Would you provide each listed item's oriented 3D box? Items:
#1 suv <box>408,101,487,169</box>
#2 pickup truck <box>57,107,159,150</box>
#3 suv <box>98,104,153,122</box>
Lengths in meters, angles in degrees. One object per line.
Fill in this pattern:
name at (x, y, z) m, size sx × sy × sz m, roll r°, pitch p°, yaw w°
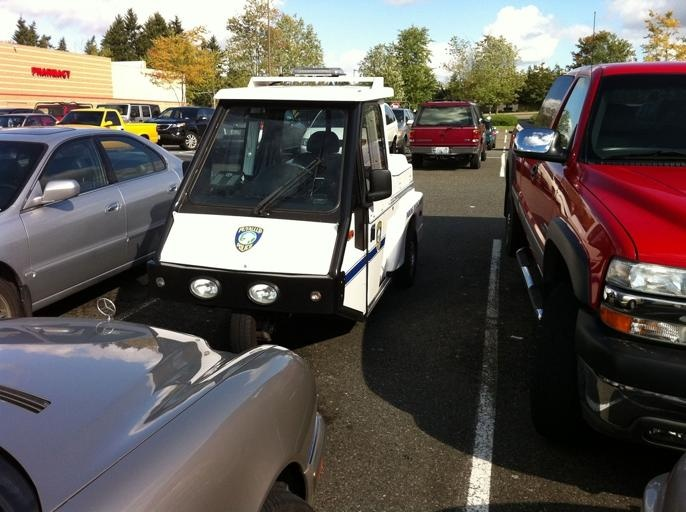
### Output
suv at (3.405, -4.049, 16.428) m, size 1.592 × 1.412 × 3.030 m, roll 4°, pitch 23°, yaw 18°
pickup truck at (-8.858, -5.092, 20.716) m, size 3.298 × 1.395 × 1.877 m, roll -2°, pitch 11°, yaw -2°
suv at (-9.965, -6.924, 23.851) m, size 1.382 × 1.087 × 2.293 m, roll 3°, pitch 16°, yaw 10°
